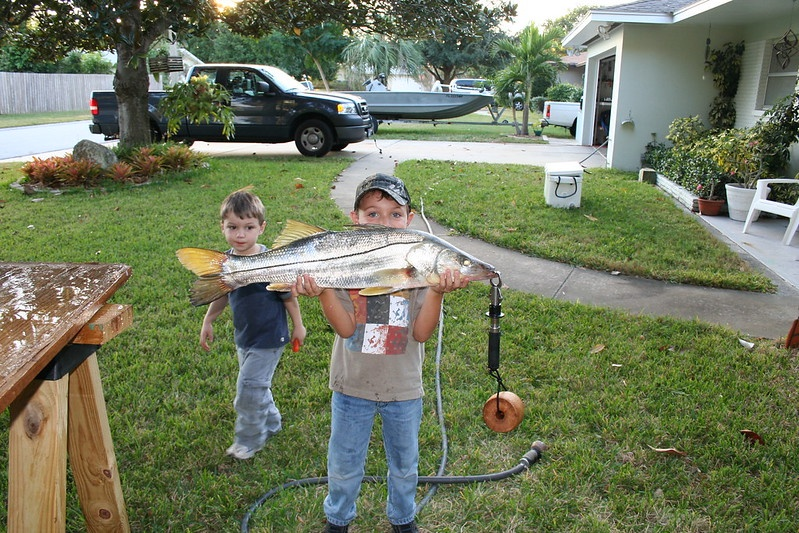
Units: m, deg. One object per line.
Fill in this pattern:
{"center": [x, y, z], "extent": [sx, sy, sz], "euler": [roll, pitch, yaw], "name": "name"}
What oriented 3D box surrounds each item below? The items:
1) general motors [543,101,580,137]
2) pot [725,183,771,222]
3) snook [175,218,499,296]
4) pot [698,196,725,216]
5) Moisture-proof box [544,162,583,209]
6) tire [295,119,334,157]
{"center": [6.340, -5.743, 21.837], "extent": [2.050, 0.877, 1.153], "euler": [-3, 18, -1], "name": "general motors"}
{"center": [5.478, -1.021, 8.926], "extent": [0.495, 0.469, 0.523], "euler": [1, 22, 0], "name": "pot"}
{"center": [-0.326, 0.025, 2.817], "extent": [1.632, 0.454, 0.264], "euler": [2, 18, 6], "name": "snook"}
{"center": [5.094, -0.970, 9.111], "extent": [0.316, 0.197, 0.323], "euler": [-1, 20, 0], "name": "pot"}
{"center": [2.530, -1.267, 8.877], "extent": [0.612, 0.632, 0.849], "euler": [1, 16, 4], "name": "Moisture-proof box"}
{"center": [-1.961, -3.000, 13.008], "extent": [0.767, 0.786, 0.251], "euler": [-4, 11, 3], "name": "tire"}
